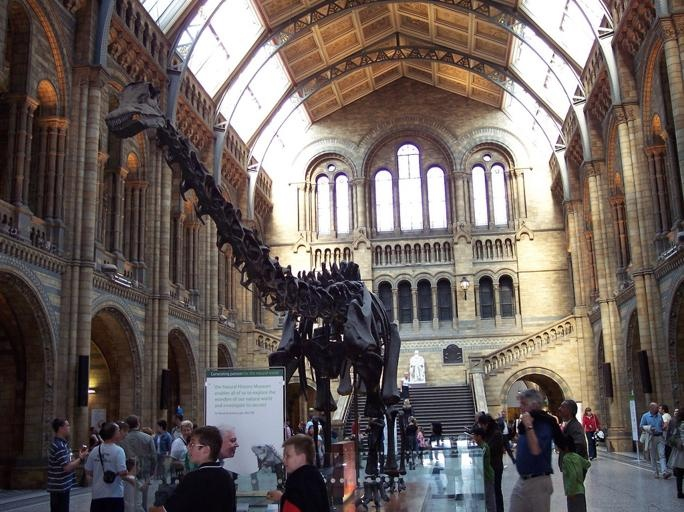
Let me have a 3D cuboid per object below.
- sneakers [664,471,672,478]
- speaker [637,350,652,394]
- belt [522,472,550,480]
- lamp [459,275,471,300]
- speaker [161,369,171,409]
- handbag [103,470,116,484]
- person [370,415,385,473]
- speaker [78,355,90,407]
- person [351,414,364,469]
[{"bbox_3d":[8.344,5.550,17.038,0.088,0.103,0.264,-1,-43,2],"label":"sneakers"},{"bbox_3d":[9.985,3.754,21.853,0.299,1.381,0.537,-9,-16,23],"label":"speaker"},{"bbox_3d":[2.559,2.867,8.802,0.185,0.048,0.180,-12,-8,9],"label":"belt"},{"bbox_3d":[6.707,1.613,36.059,0.537,1.279,0.907,-5,-14,8],"label":"lamp"},{"bbox_3d":[-5.759,4.293,21.804,0.372,1.229,0.249,9,-18,-38],"label":"speaker"},{"bbox_3d":[-3.243,3.065,9.348,0.191,0.189,0.145,0,-14,23],"label":"handbag"},{"bbox_3d":[0.809,3.967,14.319,0.360,1.113,0.378,-3,-5,35],"label":"person"},{"bbox_3d":[-6.808,3.247,17.576,0.271,1.307,0.155,9,-18,-37],"label":"speaker"},{"bbox_3d":[0.432,4.501,16.452,0.319,1.212,0.309,4,-21,-15],"label":"person"}]
